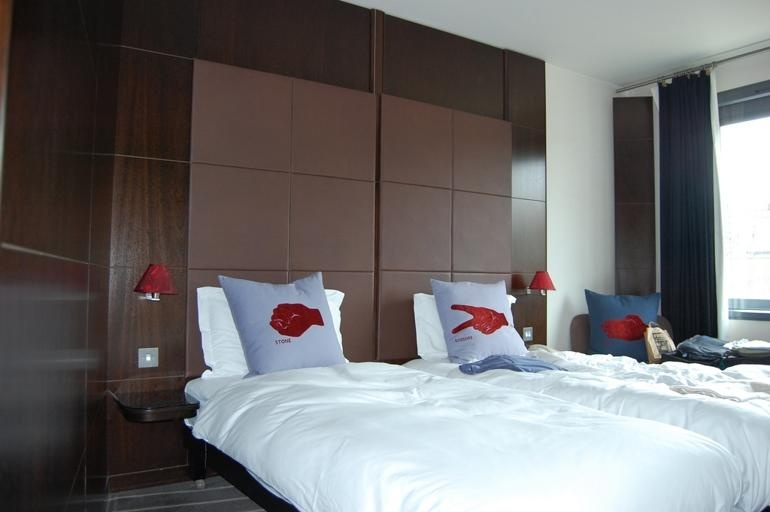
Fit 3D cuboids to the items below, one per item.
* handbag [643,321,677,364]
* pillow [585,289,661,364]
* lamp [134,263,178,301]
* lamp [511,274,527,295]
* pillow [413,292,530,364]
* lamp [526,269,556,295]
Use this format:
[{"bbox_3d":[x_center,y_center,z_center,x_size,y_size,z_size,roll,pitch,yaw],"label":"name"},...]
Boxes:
[{"bbox_3d":[2.214,0.725,4.550,0.276,0.303,0.092,-4,-16,-28],"label":"handbag"},{"bbox_3d":[2.115,0.652,4.902,0.510,0.594,0.219,1,-22,8],"label":"pillow"},{"bbox_3d":[-1.420,0.168,3.466,0.232,0.205,0.240,2,0,40],"label":"lamp"},{"bbox_3d":[1.186,0.249,4.954,0.167,0.166,0.153,-4,3,-38],"label":"lamp"},{"bbox_3d":[0.712,0.538,4.118,0.704,0.226,0.810,10,32,9],"label":"pillow"},{"bbox_3d":[1.381,0.236,4.858,0.192,0.145,0.211,2,-4,-28],"label":"lamp"}]
